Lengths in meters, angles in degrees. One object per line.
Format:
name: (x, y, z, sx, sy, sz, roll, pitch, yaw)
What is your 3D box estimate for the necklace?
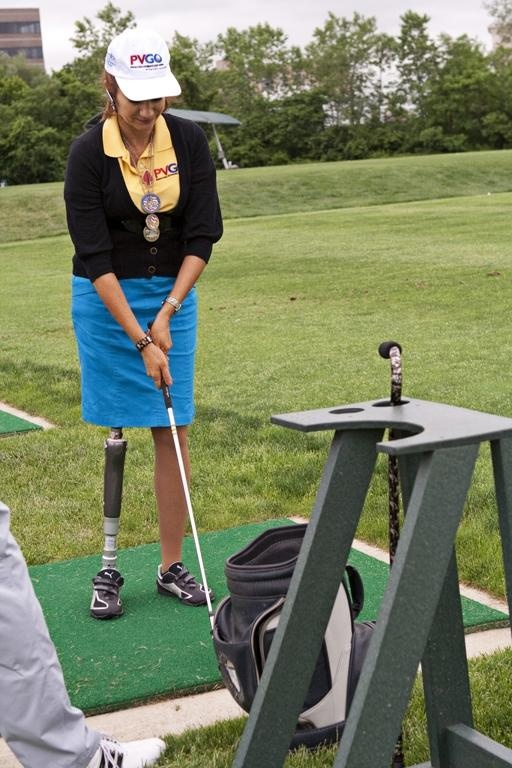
necklace: (-0.364, -0.674, 2.781, 0.079, 0.355, 0.067, -7, 15, -30)

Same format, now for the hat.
hat: (-0.368, -1.044, 2.641, 0.235, 0.171, 0.348, -12, 44, -22)

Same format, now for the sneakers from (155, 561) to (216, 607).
sneakers: (-0.226, 0.741, 3.025, 0.280, 0.127, 0.099, 14, 26, 36)

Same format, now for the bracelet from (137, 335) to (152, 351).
bracelet: (-0.380, -0.141, 2.779, 0.053, 0.059, 0.049, -2, 13, -16)

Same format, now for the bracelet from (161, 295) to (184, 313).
bracelet: (-0.288, -0.283, 2.879, 0.065, 0.070, 0.044, -21, 32, 52)
